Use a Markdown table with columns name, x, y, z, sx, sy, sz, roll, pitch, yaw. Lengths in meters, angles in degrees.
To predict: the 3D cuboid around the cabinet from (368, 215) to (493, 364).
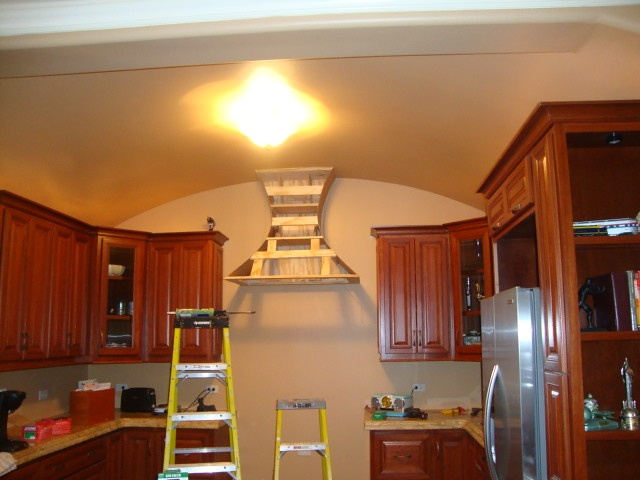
| name | x | y | z | sx | sy | sz | roll | pitch | yaw |
| --- | --- | --- | --- | --- | --- | --- | --- | --- | --- |
| cabinet | 1.067 | 0.506 | 4.988 | 1.479 | 1.643 | 0.879 | 0 | -13 | 2 |
